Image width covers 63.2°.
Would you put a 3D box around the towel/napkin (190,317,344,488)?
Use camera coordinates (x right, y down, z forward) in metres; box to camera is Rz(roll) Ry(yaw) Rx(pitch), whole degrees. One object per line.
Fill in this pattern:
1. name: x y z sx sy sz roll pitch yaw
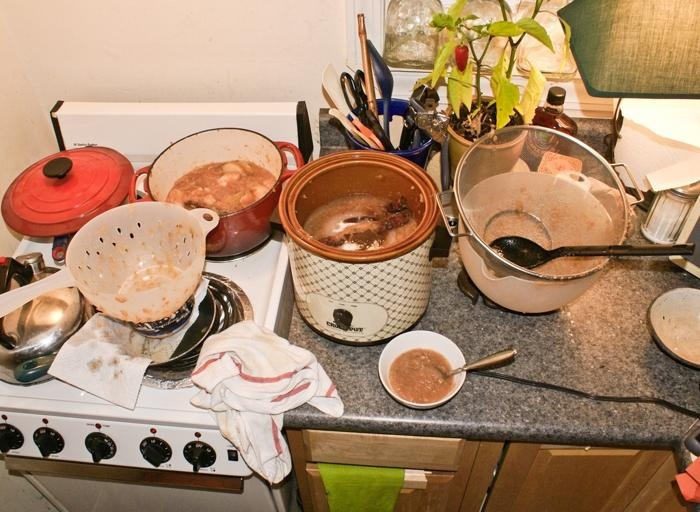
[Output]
1. towel/napkin: -0.182 0.306 1.221 0.308 0.231 0.227 28 52 25

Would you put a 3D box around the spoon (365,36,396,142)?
1. spoon: 0.084 -0.418 1.458 0.037 0.259 0.060 -16 18 -17

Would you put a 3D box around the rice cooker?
1. rice cooker: 0.023 -0.019 1.265 0.336 0.299 0.320 -7 47 -7

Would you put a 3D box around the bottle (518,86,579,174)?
1. bottle: 0.467 -0.296 1.356 0.078 0.259 0.119 -33 65 -14

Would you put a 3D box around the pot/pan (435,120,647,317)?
1. pot/pan: 0.415 -0.047 1.443 0.485 0.294 0.430 -18 64 -5

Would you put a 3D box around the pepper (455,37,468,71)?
1. pepper: 0.254 -0.450 1.296 0.032 0.054 0.035 25 51 23

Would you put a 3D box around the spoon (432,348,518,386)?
1. spoon: 0.282 0.222 1.219 0.202 0.080 0.047 -10 47 -10
